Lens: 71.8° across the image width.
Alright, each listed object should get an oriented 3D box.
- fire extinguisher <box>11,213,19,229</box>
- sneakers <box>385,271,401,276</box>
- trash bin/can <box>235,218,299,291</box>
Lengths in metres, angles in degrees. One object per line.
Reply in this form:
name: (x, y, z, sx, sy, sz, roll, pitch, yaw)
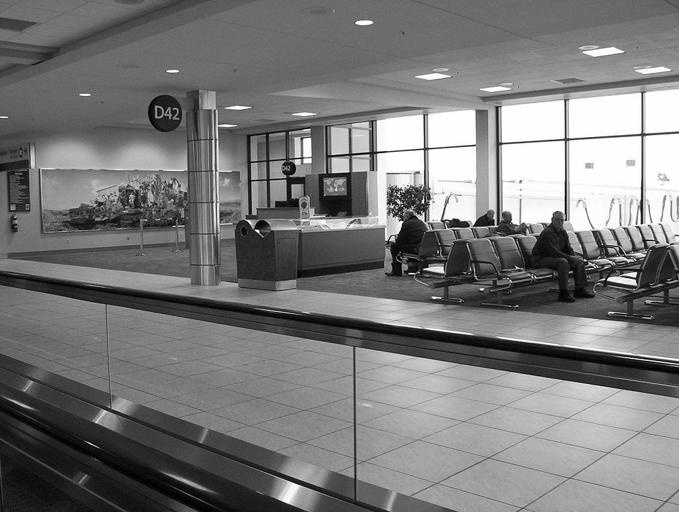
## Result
fire extinguisher: (-12.120, -1.272, 17.530, 0.215, 0.563, 0.217, -2, 8, 3)
sneakers: (1.320, 0.440, 11.436, 0.125, 0.134, 0.351, -3, 7, -44)
trash bin/can: (-1.465, -0.022, 9.500, 1.491, 1.450, 0.926, 4, 7, 39)
